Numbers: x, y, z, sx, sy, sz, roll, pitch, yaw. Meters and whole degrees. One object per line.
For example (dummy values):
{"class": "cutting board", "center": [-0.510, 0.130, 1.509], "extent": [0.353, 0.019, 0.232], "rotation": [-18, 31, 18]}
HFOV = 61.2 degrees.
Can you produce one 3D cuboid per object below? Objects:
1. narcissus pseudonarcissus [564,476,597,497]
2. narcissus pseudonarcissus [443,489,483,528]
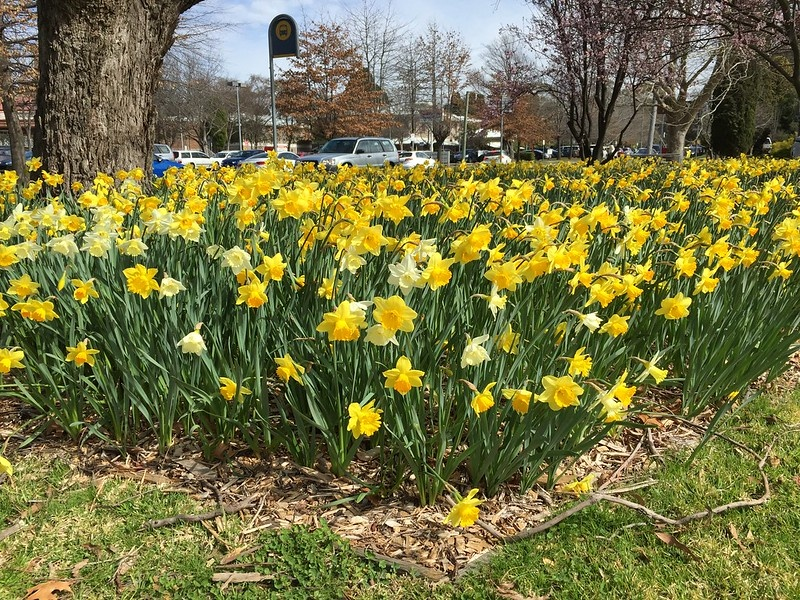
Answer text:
{"class": "narcissus pseudonarcissus", "center": [0.893, 0.933, 3.391], "extent": [0.110, 0.043, 0.108], "rotation": [-18, -11, 27]}
{"class": "narcissus pseudonarcissus", "center": [0.264, 0.892, 2.909], "extent": [0.136, 0.189, 0.187], "rotation": [3, 14, 4]}
